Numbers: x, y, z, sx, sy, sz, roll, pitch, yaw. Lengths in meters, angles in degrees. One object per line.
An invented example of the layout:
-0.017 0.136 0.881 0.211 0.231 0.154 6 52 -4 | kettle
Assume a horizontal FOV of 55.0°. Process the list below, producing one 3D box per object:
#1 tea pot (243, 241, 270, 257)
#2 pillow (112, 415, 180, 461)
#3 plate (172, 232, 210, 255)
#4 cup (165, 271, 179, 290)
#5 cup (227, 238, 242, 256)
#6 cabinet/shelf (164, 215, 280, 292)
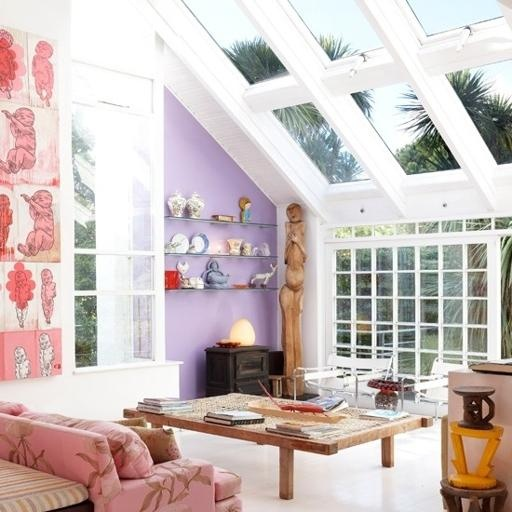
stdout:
-0.005 -0.103 7.418 0.313 0.119 0.229 2 -4 -21 | tea pot
-0.573 0.942 2.582 0.339 0.302 0.129 -3 -3 -32 | pillow
-0.900 -0.177 6.580 0.136 0.333 0.708 -7 -11 37 | plate
-1.035 0.307 6.284 0.231 0.224 0.217 1 -2 0 | cup
-0.318 -0.134 7.095 0.238 0.187 0.234 -1 -1 0 | cup
-0.411 -0.253 7.010 0.260 0.724 2.153 -9 -12 43 | cabinet/shelf
